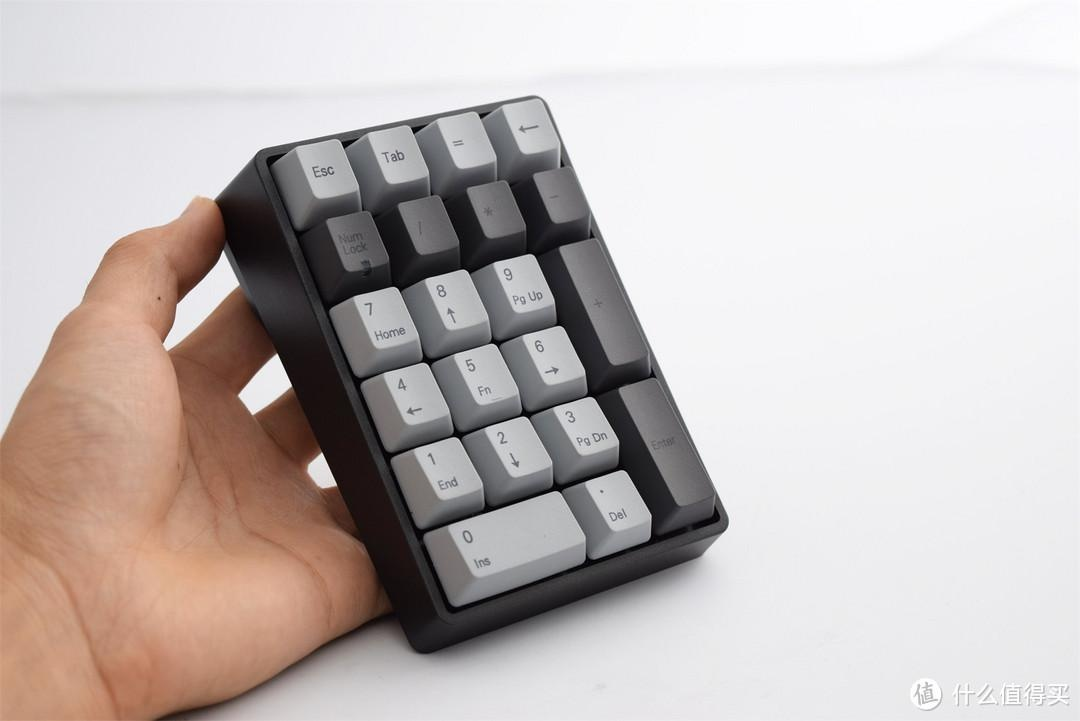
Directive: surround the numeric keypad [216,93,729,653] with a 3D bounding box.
[{"bbox_3d":[-0.086,0.011,0.841,0.355,0.459,0.125,-20,-7,-26],"label":"numeric keypad"}]
